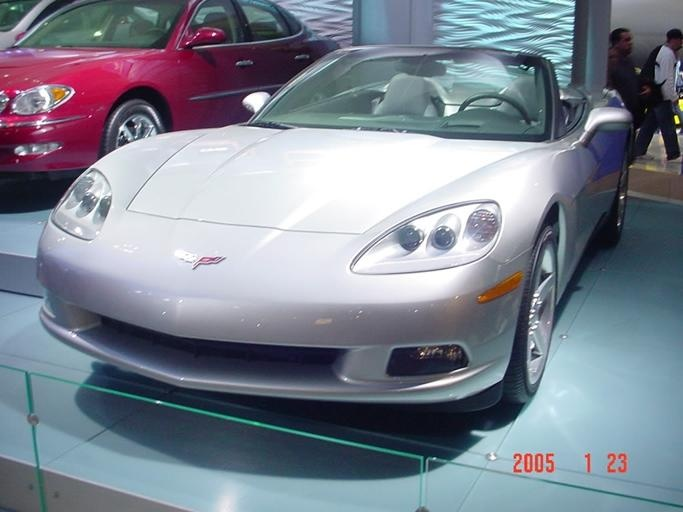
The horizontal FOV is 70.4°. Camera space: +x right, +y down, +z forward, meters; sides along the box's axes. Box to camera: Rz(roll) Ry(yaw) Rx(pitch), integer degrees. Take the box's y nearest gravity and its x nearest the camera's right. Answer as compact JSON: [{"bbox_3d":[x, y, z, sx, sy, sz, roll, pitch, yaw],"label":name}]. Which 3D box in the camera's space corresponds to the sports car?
[{"bbox_3d":[0.475,-0.515,2.820,1.933,1.140,3.643,12,24,34],"label":"sports car"}]
